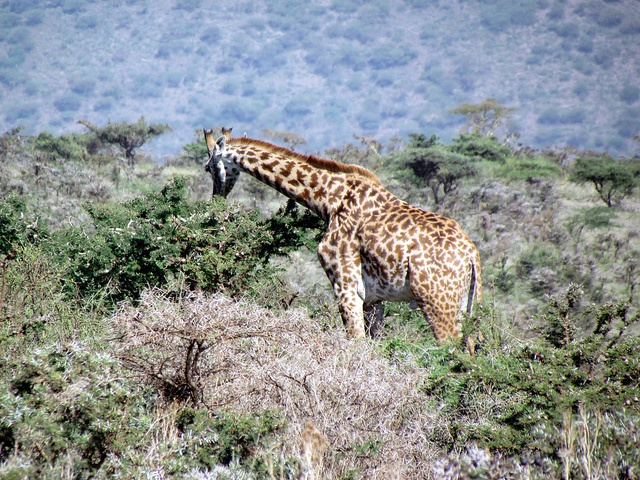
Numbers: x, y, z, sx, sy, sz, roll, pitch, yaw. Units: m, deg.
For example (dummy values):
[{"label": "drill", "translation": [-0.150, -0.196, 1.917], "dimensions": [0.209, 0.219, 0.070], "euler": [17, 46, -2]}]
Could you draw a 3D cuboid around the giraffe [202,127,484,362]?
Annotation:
[{"label": "giraffe", "translation": [0.415, 0.248, 20.653], "dimensions": [5.924, 4.727, 1.605], "euler": [9, 25, 21]}]
